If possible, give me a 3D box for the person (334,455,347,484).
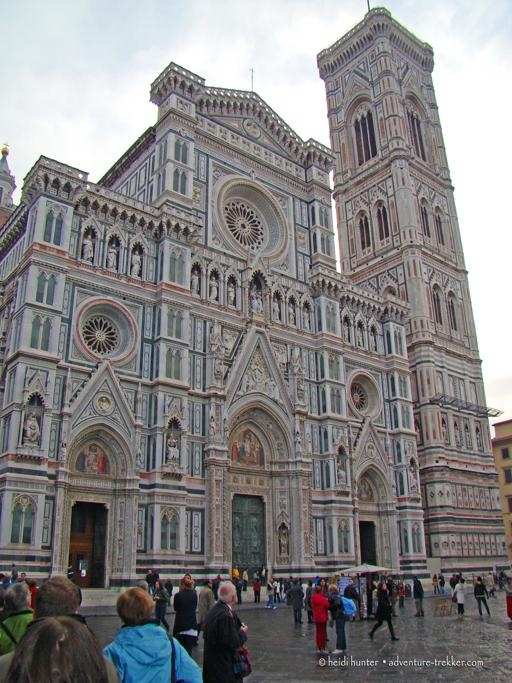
[{"bbox_3d":[5.027,7.709,33.660,0.897,2.099,0.323,31,-47,-31],"label":"person"}]

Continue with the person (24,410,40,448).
[{"bbox_3d":[-9.207,3.647,23.092,0.214,1.404,0.672,-15,-24,34],"label":"person"}]

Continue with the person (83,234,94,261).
[{"bbox_3d":[-8.303,-4.600,27.846,0.270,1.573,0.563,-12,-22,28],"label":"person"}]

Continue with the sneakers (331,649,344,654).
[{"bbox_3d":[1.756,6.668,12.089,0.243,0.080,0.222,-4,-20,7],"label":"sneakers"}]

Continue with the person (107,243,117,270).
[{"bbox_3d":[-7.318,-4.271,28.648,0.586,1.703,0.265,15,-25,-38],"label":"person"}]
